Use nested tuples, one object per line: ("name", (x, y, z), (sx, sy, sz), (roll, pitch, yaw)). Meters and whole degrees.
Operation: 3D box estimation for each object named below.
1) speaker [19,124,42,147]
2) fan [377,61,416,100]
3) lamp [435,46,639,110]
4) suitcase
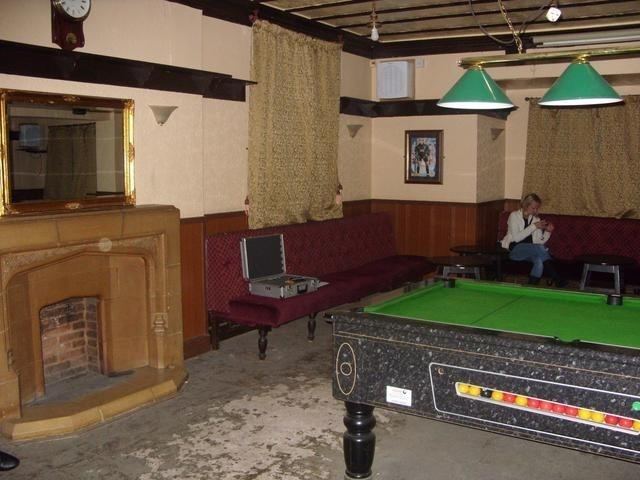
("speaker", (-2.417, -0.880, 4.394), (0.082, 0.196, 0.227), (3, 6, 32))
("fan", (1.389, -2.714, 8.883), (0.478, 0.572, 0.665), (-17, 22, -41))
("lamp", (1.476, -1.136, 3.609), (1.213, 0.420, 0.644), (3, 10, 11))
("suitcase", (-0.426, 0.282, 6.196), (0.695, 0.630, 0.795), (8, 12, 33))
